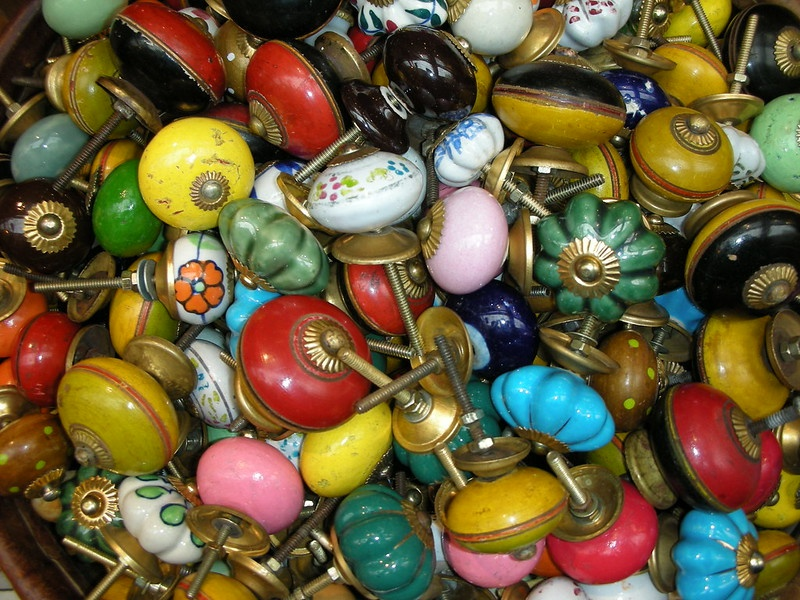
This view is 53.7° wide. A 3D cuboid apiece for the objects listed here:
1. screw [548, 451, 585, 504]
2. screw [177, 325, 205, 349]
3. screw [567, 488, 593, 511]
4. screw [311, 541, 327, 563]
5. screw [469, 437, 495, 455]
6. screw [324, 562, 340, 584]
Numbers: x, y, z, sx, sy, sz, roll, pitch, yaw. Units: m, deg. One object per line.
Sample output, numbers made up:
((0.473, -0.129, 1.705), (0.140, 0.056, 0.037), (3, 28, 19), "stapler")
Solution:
((0.697, 0.761, 3.342), (0.034, 0.042, 0.227), (-28, 99, -11), "screw")
((-0.958, 0.174, 3.611), (0.019, 0.025, 0.106), (-11, 31, 31), "screw")
((0.761, 0.852, 3.355), (0.062, 0.128, 0.073), (-11, 60, 32), "screw")
((-0.362, 1.137, 3.579), (0.052, 0.035, 0.122), (-23, 97, 6), "screw")
((0.328, 0.593, 3.267), (0.066, 0.063, 0.078), (-13, 91, 13), "screw")
((-0.288, 1.188, 3.419), (0.062, 0.137, 0.056), (-13, 56, -4), "screw")
